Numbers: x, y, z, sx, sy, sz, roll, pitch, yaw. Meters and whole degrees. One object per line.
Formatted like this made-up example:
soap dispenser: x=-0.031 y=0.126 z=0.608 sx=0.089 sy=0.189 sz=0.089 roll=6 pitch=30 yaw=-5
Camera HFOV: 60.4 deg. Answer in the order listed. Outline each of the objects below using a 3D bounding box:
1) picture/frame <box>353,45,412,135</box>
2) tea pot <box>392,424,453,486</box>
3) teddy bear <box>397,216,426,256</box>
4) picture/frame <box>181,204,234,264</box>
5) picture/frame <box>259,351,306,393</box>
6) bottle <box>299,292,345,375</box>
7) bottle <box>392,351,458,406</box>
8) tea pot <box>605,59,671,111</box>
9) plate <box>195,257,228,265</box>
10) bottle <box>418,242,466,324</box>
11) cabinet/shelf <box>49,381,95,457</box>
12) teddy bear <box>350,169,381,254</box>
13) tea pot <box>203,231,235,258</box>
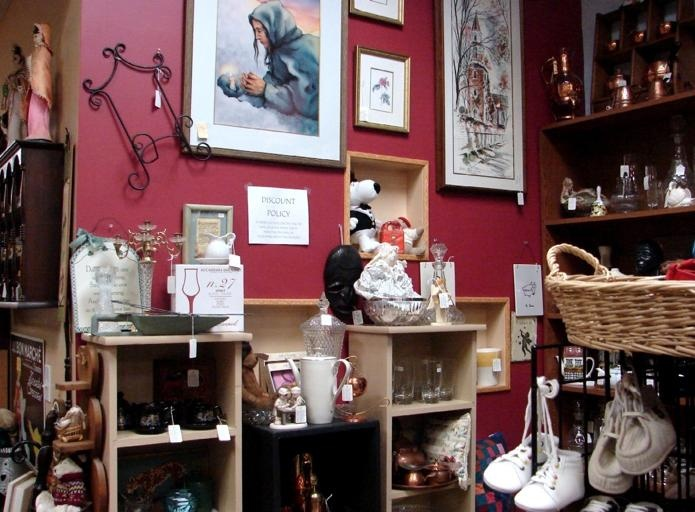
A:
picture/frame: x=0.175 y=-0.886 z=3.249 sx=0.431 sy=0.581 sz=0.043 roll=5 pitch=-9 yaw=-29
tea pot: x=0.364 y=1.006 z=2.921 sx=0.228 sy=0.116 sz=0.182 roll=4 pitch=-8 yaw=1
teddy bear: x=0.340 y=-0.104 z=3.298 sx=0.123 sy=0.220 sz=0.160 roll=-5 pitch=-7 yaw=39
picture/frame: x=-0.652 y=-0.089 z=2.730 sx=0.231 sy=0.342 sz=0.033 roll=4 pitch=-9 yaw=-25
picture/frame: x=-0.336 y=0.559 z=2.886 sx=0.152 sy=0.230 sz=0.073 roll=1 pitch=-27 yaw=-22
bottle: x=-0.111 y=0.377 z=2.850 sx=0.242 sy=0.426 sz=0.277 roll=0 pitch=-1 yaw=9
bottle: x=0.385 y=0.626 z=2.985 sx=0.401 sy=0.224 sz=0.092 roll=2 pitch=-6 yaw=-24
tea pot: x=1.640 y=-0.956 z=3.485 sx=0.208 sy=0.281 sz=0.443 roll=-3 pitch=3 yaw=-18
plate: x=-0.592 y=0.026 z=2.562 sx=0.168 sy=0.038 sz=0.069 roll=-3 pitch=-6 yaw=19
bottle: x=0.511 y=0.135 z=3.170 sx=0.191 sy=0.463 sz=0.407 roll=-2 pitch=-5 yaw=11
cabinet/shelf: x=-1.128 y=0.670 z=2.467 sx=0.157 sy=0.298 sz=0.360 roll=3 pitch=-6 yaw=-33
teddy bear: x=0.098 y=-0.232 z=3.241 sx=0.158 sy=0.458 sz=0.240 roll=-1 pitch=-5 yaw=7
tea pot: x=-0.563 y=-0.035 z=2.646 sx=0.122 sy=0.140 sz=0.100 roll=3 pitch=-8 yaw=-3
